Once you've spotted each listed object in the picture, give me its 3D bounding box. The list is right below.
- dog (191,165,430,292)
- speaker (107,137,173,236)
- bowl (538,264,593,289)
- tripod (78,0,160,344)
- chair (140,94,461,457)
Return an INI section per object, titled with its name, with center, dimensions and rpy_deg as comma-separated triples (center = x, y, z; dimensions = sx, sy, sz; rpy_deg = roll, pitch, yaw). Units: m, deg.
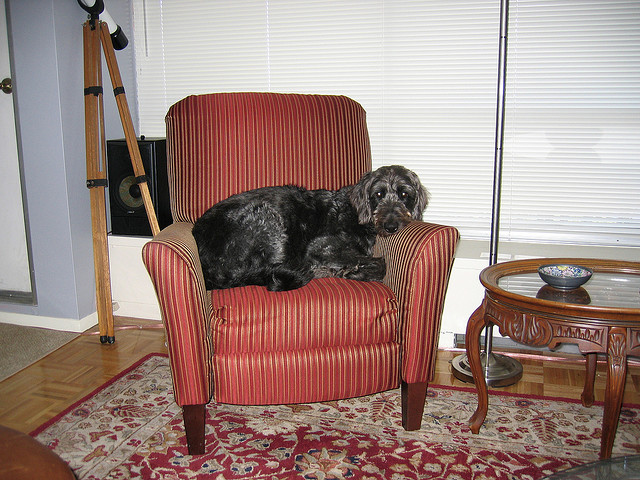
[dog]
center = -0.046, -0.050, 2.642
dimensions = 1.023, 0.490, 0.556
rpy_deg = -3, 19, -11
[speaker]
center = -1.139, -0.348, 3.472
dimensions = 0.342, 0.606, 0.332
rpy_deg = -2, 8, 7
[bowl]
center = 0.986, 0.143, 2.220
dimensions = 0.193, 0.070, 0.205
rpy_deg = 0, 15, 0
[tripod]
center = -1.211, -0.377, 3.190
dimensions = 0.377, 1.931, 0.733
rpy_deg = -8, 17, -23
[chair]
center = -0.097, 0.071, 2.592
dimensions = 1.310, 1.487, 0.889
rpy_deg = -3, 15, -8
